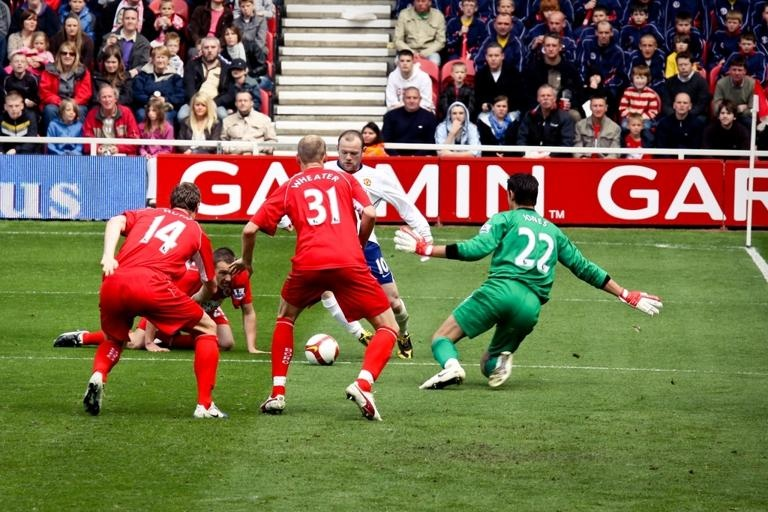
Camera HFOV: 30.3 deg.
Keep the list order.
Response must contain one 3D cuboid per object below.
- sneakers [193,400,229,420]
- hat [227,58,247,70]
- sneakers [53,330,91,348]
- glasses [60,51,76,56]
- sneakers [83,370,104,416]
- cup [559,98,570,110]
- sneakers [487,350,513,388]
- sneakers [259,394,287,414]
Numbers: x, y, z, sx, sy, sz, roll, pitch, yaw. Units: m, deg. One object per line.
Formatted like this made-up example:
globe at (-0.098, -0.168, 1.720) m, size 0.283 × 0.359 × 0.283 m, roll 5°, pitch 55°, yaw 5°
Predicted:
sneakers at (-1.912, 1.702, 15.575) m, size 0.322 × 0.154 × 0.167 m, roll 0°, pitch 2°, yaw -7°
hat at (-2.788, -3.655, 27.037) m, size 0.331 × 0.205 × 0.350 m, roll 1°, pitch 14°, yaw 0°
sneakers at (-3.996, 1.076, 18.123) m, size 0.502 × 0.192 × 0.213 m, roll -4°, pitch 15°, yaw -4°
glasses at (-6.064, -3.874, 27.175) m, size 0.236 × 0.061 × 0.084 m, roll -6°, pitch 15°, yaw -24°
sneakers at (-3.172, 1.508, 15.517) m, size 0.222 × 0.500 × 0.279 m, roll -3°, pitch 14°, yaw -13°
cup at (3.367, -2.815, 26.297) m, size 0.230 × 0.177 × 0.230 m, roll 0°, pitch -2°, yaw 0°
sneakers at (1.379, 1.331, 16.766) m, size 0.256 × 0.453 × 0.258 m, roll 1°, pitch 14°, yaw 3°
sneakers at (-1.202, 1.644, 15.637) m, size 0.145 × 0.159 × 0.318 m, roll 2°, pitch 0°, yaw -27°
